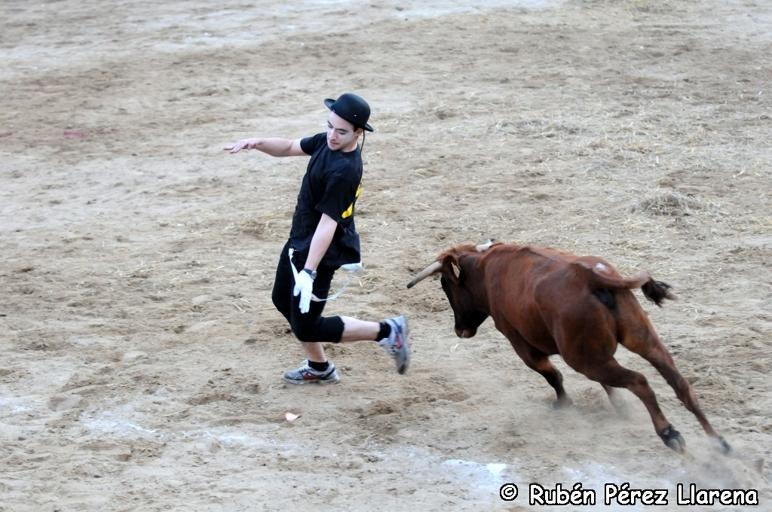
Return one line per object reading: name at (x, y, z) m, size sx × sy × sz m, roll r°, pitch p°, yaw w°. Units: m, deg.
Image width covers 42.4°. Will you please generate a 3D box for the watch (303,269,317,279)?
watch at (-0.748, 0.177, 9.936) m, size 0.142 × 0.088 × 0.058 m, roll 25°, pitch 93°, yaw 6°
